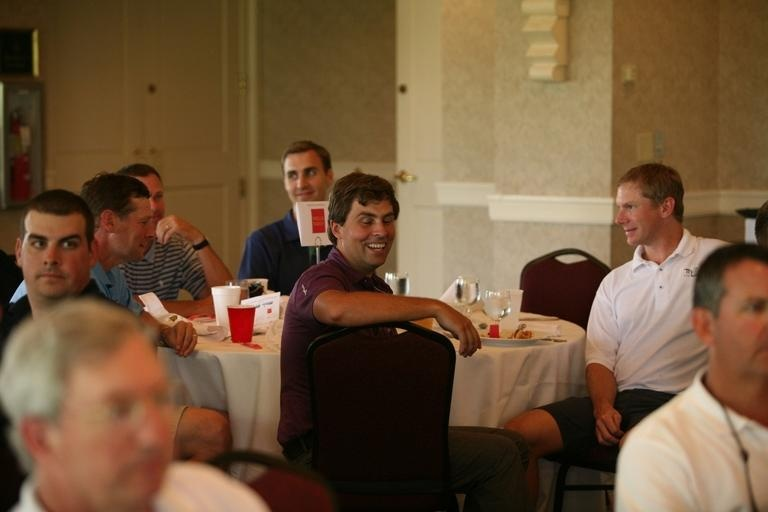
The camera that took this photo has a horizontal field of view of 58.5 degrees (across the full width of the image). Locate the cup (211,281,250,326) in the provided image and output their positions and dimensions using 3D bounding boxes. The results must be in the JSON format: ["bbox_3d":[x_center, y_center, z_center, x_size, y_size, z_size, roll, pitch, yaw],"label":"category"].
[{"bbox_3d":[-0.606,0.194,2.796,0.147,0.170,0.147,1,6,0],"label":"cup"}]

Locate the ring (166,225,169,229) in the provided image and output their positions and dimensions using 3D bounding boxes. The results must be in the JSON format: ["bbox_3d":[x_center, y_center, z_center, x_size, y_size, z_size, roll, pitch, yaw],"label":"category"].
[{"bbox_3d":[-1.047,-0.141,3.300,0.020,0.019,0.005,9,1,-5],"label":"ring"}]

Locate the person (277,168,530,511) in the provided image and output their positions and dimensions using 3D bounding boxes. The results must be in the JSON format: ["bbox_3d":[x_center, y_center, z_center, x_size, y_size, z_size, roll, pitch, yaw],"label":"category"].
[{"bbox_3d":[-0.011,0.336,3.054,1.103,1.788,0.916,-5,-3,0],"label":"person"}]

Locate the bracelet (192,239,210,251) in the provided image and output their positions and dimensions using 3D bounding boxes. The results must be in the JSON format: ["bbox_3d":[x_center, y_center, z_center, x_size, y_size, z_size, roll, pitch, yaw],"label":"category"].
[{"bbox_3d":[-0.930,-0.051,3.453,0.067,0.027,0.069,-26,-9,-6],"label":"bracelet"}]

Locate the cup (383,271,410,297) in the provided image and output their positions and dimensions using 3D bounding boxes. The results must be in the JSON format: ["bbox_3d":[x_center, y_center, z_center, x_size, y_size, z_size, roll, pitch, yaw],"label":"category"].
[{"bbox_3d":[0.048,0.114,2.861,0.092,0.104,0.093,1,2,0],"label":"cup"}]

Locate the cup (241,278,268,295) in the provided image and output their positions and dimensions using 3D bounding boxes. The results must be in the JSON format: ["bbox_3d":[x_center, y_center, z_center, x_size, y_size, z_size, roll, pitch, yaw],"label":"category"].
[{"bbox_3d":[-0.548,0.126,2.927,0.074,0.058,0.078,-1,0,0],"label":"cup"}]
